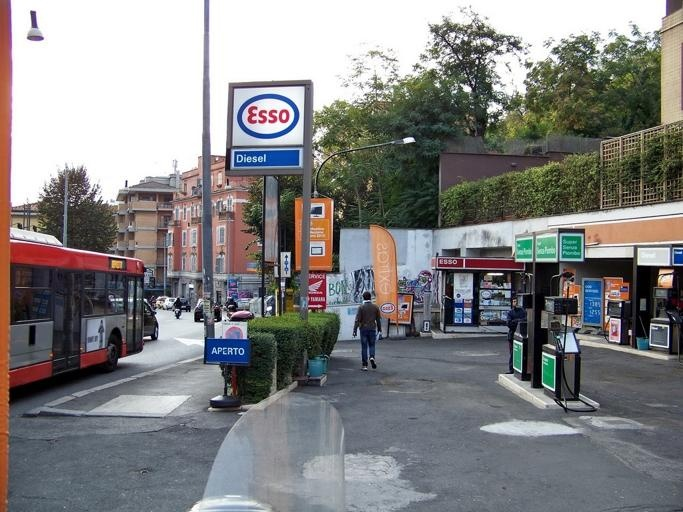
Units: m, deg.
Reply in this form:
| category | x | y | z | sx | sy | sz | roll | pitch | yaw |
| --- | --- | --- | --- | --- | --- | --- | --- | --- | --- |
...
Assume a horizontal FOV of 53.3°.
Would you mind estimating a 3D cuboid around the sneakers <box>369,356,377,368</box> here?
| category | x | y | z | sx | sy | sz | roll | pitch | yaw |
| --- | --- | --- | --- | --- | --- | --- | --- | --- | --- |
| sneakers | 0.860 | 3.024 | 19.186 | 0.128 | 0.365 | 0.146 | -6 | 8 | 4 |

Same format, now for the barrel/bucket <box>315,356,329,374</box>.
| category | x | y | z | sx | sy | sz | roll | pitch | yaw |
| --- | --- | --- | --- | --- | --- | --- | --- | --- | --- |
| barrel/bucket | -0.475 | 2.698 | 16.905 | 0.313 | 0.449 | 0.403 | -1 | 4 | -39 |

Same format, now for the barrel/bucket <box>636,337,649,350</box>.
| category | x | y | z | sx | sy | sz | roll | pitch | yaw |
| --- | --- | --- | --- | --- | --- | --- | --- | --- | --- |
| barrel/bucket | 10.087 | 2.958 | 22.906 | 0.339 | 0.305 | 0.328 | 0 | -7 | 0 |

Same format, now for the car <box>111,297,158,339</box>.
| category | x | y | z | sx | sy | sz | roll | pitch | yaw |
| --- | --- | --- | --- | --- | --- | --- | --- | --- | --- |
| car | -8.890 | 2.751 | 29.624 | 1.257 | 1.764 | 2.821 | 1 | -3 | 8 |

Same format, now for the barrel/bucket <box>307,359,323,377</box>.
| category | x | y | z | sx | sy | sz | roll | pitch | yaw |
| --- | --- | --- | --- | --- | --- | --- | --- | --- | --- |
| barrel/bucket | -0.648 | 2.720 | 16.499 | 0.359 | 0.417 | 0.384 | 0 | -6 | 0 |
